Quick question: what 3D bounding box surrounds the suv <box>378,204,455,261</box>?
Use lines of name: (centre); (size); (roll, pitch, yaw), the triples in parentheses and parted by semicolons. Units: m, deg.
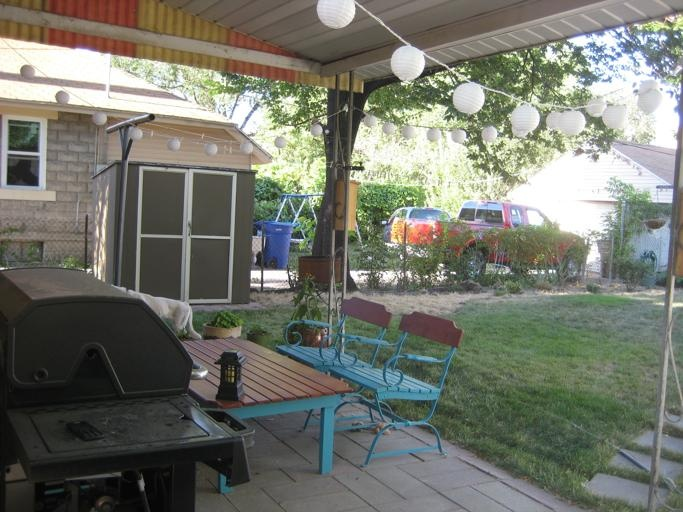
suv: (1.481, -0.568, 12.031); (1.007, 0.740, 1.913); (-2, 6, -13)

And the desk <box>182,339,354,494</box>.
desk: (-0.754, 1.228, 4.696); (1.396, 0.729, 1.845); (0, 7, -28)

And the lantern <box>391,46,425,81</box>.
lantern: (0.466, -1.392, 3.761); (0.222, 0.257, 0.286); (4, 7, 5)

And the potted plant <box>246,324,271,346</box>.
potted plant: (-1.056, 1.002, 6.675); (0.361, 0.294, 0.374); (3, 1, -19)

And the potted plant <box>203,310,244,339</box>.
potted plant: (-1.382, 0.817, 6.181); (0.327, 0.359, 0.344); (7, -5, -19)

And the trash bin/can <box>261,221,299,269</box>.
trash bin/can: (-1.513, -0.267, 14.470); (1.169, 1.664, 1.155); (2, 2, -22)

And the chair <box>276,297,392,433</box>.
chair: (-0.069, 1.098, 5.280); (0.693, 0.900, 1.083); (4, 0, -28)

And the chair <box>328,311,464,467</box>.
chair: (0.449, 1.117, 4.845); (0.797, 1.185, 1.225); (4, -1, -17)
